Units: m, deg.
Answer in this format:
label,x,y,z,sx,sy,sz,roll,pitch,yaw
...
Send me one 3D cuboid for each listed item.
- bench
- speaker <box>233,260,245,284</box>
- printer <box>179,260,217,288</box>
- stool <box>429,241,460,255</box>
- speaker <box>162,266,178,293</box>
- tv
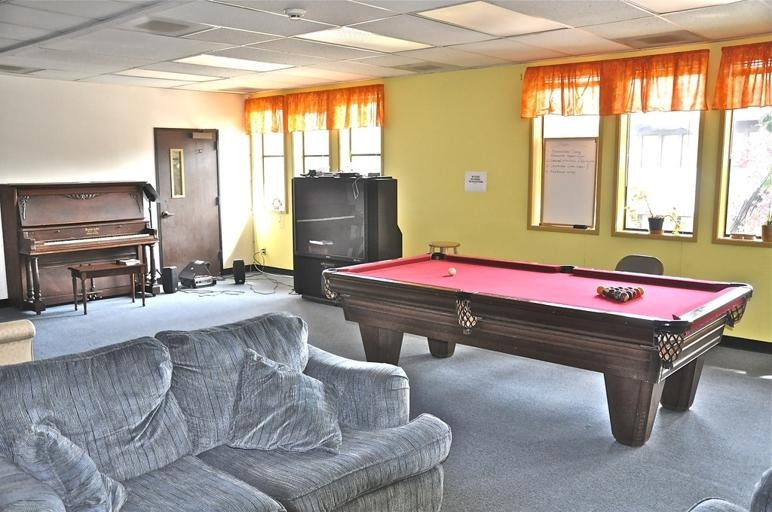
label,x,y,z,sx,sy,sz,roll,pitch,yaw
bench,-4.131,0.462,7.791,0.741,0.451,0.354,-6,17,-35
speaker,-2.550,0.263,9.197,0.188,0.394,0.309,-6,11,-19
printer,-3.214,0.307,9.055,0.456,0.442,0.594,-1,-1,42
stool,0.802,-0.131,7.418,0.321,0.289,0.278,0,7,5
speaker,-3.464,0.374,8.514,0.214,0.409,0.215,-8,12,-30
tv,-0.663,-0.561,7.860,1.489,1.200,0.531,3,12,25
